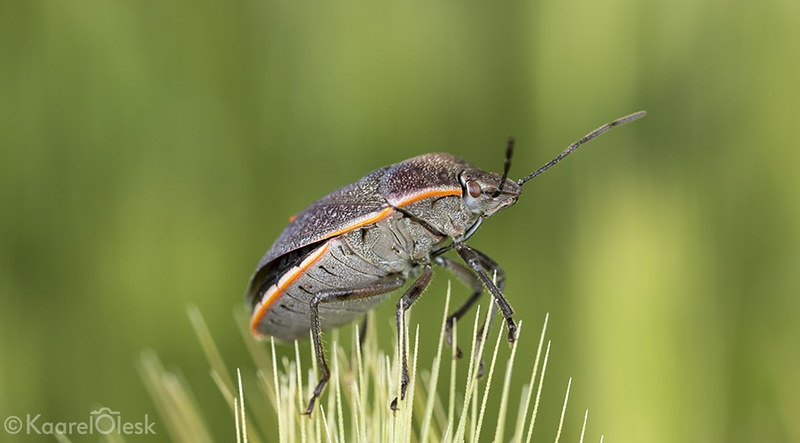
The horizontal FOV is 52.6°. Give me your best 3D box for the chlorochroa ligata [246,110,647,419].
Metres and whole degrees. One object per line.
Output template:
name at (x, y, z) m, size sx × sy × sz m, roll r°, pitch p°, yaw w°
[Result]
chlorochroa ligata at (0.131, 0.244, 9.648) m, size 4.498 × 2.476 × 2.625 m, roll -17°, pitch 0°, yaw 6°
